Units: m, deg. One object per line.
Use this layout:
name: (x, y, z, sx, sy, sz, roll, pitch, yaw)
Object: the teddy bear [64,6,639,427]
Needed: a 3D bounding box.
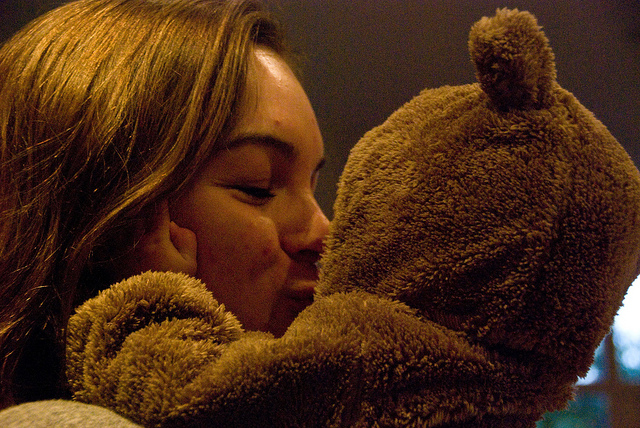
teddy bear: (0.094, 0.008, 1.172, 0.774, 0.619, 0.201, 11, -1, -16)
